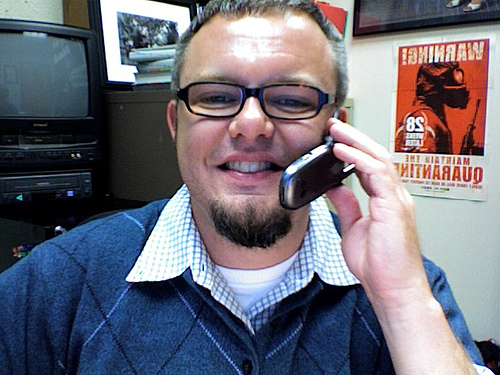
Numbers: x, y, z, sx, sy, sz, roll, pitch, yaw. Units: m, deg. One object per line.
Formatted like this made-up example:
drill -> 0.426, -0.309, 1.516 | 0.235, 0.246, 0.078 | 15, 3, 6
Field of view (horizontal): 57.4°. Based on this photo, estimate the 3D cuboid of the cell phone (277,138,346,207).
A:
cell phone -> 0.145, -0.041, 1.072 | 0.045, 0.104, 0.202 | 20, 43, 36

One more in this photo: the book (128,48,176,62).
book -> -0.380, -0.510, 1.758 | 0.182, 0.043, 0.029 | 0, 11, 13
